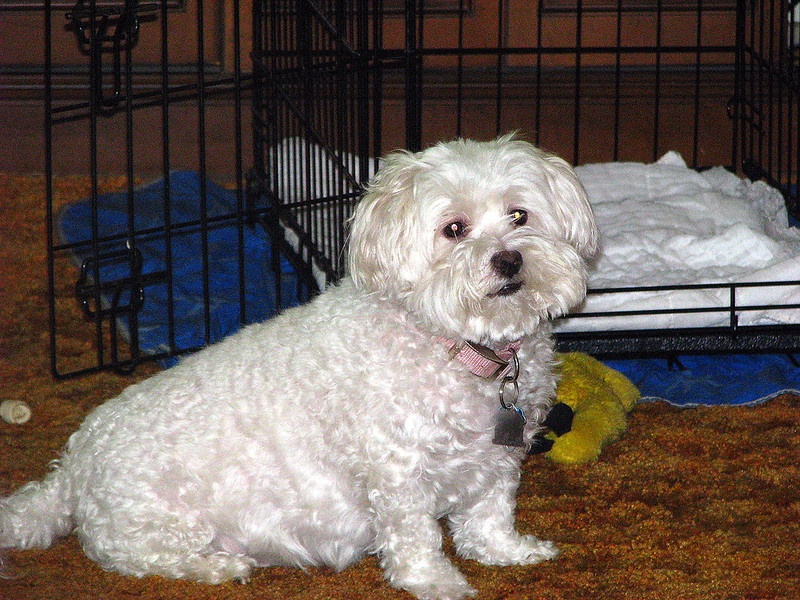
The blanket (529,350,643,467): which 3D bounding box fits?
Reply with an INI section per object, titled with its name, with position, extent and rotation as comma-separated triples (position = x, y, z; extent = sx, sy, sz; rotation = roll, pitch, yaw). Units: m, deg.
[blanket]
position = 1.145, 0.642, 7.336
extent = 0.600, 0.143, 0.721
rotation = 19, 46, 24
